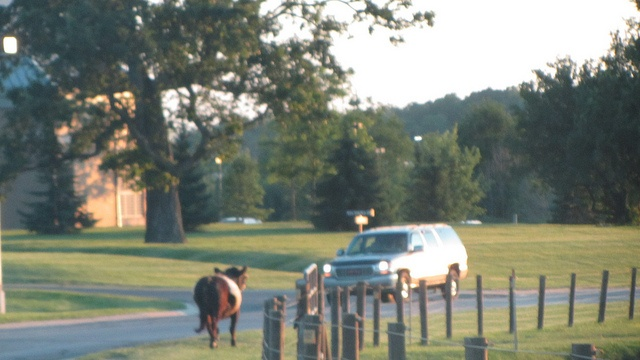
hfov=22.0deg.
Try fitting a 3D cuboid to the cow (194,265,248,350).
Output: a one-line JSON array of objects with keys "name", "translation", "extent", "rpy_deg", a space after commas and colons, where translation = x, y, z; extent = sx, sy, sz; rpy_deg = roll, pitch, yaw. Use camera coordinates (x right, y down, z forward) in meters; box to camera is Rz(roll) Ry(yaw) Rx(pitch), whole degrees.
[{"name": "cow", "translation": [-8.674, 11.003, 143.048], "extent": [4.137, 7.023, 1.230], "rpy_deg": [0, -5, -4]}]
